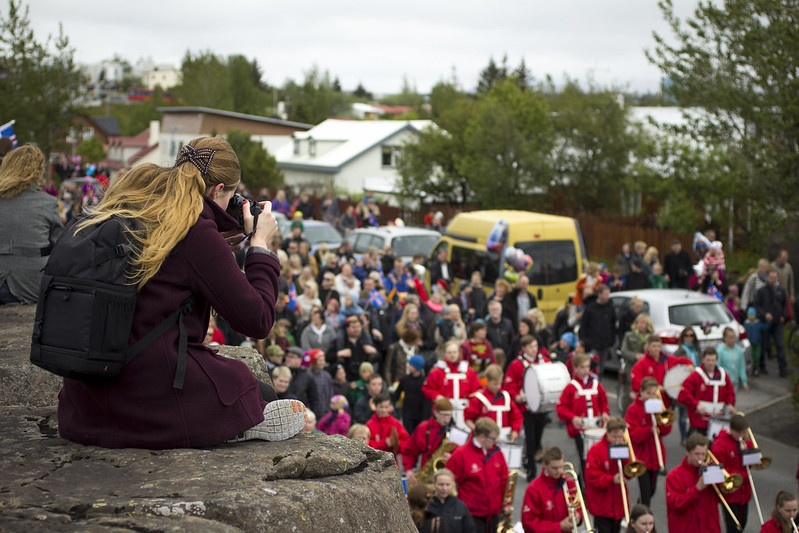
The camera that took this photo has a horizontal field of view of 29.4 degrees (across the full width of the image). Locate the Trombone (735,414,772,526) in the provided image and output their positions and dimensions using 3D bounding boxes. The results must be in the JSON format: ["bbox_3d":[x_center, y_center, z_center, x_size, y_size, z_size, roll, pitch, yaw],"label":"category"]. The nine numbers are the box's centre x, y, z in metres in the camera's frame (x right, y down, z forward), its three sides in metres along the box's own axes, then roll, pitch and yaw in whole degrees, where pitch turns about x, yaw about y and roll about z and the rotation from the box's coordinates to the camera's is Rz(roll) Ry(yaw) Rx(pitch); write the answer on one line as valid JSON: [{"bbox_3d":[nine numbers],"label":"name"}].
[{"bbox_3d":[6.602,3.679,28.616,0.531,2.262,0.637,-18,-22,33],"label":"Trombone"}]

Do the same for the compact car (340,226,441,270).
[{"bbox_3d":[-0.222,-0.739,38.736,1.074,0.933,1.855,-8,16,-37],"label":"compact car"}]

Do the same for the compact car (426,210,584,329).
[{"bbox_3d":[2.541,-0.253,35.012,1.855,2.129,3.133,-6,14,-36],"label":"compact car"}]

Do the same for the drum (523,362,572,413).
[{"bbox_3d":[2.761,2.348,29.529,0.587,0.812,0.758,6,12,-38],"label":"drum"}]

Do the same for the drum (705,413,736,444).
[{"bbox_3d":[6.114,3.024,28.952,0.635,0.720,0.355,1,-1,9],"label":"drum"}]

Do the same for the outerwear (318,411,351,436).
[{"bbox_3d":[-1.189,2.944,28.696,0.364,0.462,0.246,16,-8,14],"label":"outerwear"}]

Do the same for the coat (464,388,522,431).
[{"bbox_3d":[1.865,2.942,29.229,1.071,1.221,0.702,1,-12,-10],"label":"coat"}]

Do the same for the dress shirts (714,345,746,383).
[{"bbox_3d":[6.728,1.975,30.874,0.611,0.986,0.359,-1,-12,-17],"label":"dress shirts"}]

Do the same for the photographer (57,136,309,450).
[{"bbox_3d":[-3.679,0.509,24.301,3.886,5.297,4.040,-2,10,-44],"label":"photographer"}]

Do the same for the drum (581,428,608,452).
[{"bbox_3d":[3.696,3.213,28.810,0.368,0.415,0.398,4,3,21],"label":"drum"}]

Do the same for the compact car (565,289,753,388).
[{"bbox_3d":[5.962,1.473,32.824,1.541,1.332,2.647,-4,10,-22],"label":"compact car"}]

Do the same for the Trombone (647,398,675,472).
[{"bbox_3d":[4.955,3.135,28.635,0.416,1.368,0.467,-1,-9,25],"label":"Trombone"}]

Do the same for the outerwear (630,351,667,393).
[{"bbox_3d":[5.125,2.169,30.326,0.912,0.972,0.464,-2,-1,-15],"label":"outerwear"}]

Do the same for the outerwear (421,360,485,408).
[{"bbox_3d":[1.084,2.412,29.475,1.101,1.227,0.690,1,-12,-4],"label":"outerwear"}]
